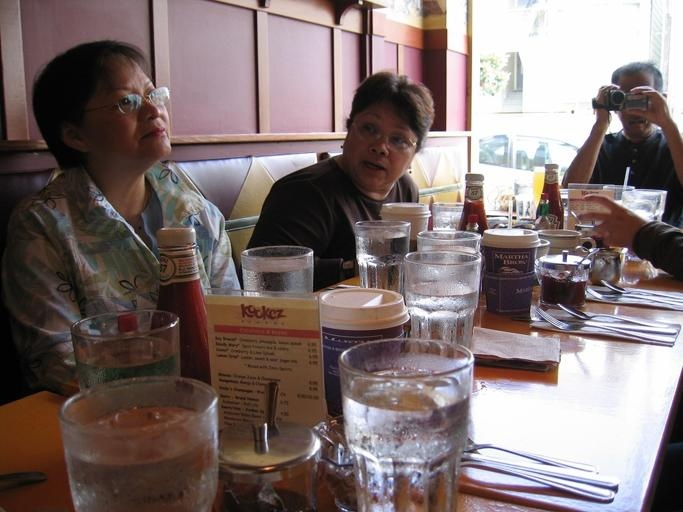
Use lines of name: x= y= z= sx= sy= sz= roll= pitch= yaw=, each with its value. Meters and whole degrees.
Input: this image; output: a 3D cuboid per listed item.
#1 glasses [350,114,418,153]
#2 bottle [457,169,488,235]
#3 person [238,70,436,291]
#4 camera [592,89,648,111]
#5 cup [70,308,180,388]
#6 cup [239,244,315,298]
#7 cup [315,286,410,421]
glasses: x=0.179 y=-0.475 z=2.335 sx=0.149 sy=0.153 sz=0.045 roll=16 pitch=53 yaw=9
bottle: x=0.380 y=-0.116 z=1.673 sx=0.091 sy=0.226 sz=0.085 roll=0 pitch=1 yaw=0
person: x=0.084 y=-0.257 z=2.428 sx=0.949 sy=0.928 sz=0.516 roll=3 pitch=14 yaw=-42
camera: x=1.522 y=-0.851 z=3.190 sx=0.277 sy=0.112 sz=0.144 roll=3 pitch=13 yaw=20
cup: x=-0.328 y=0.127 z=0.911 sx=0.121 sy=0.134 sz=0.132 roll=1 pitch=5 yaw=0
cup: x=-0.136 y=0.026 z=1.156 sx=0.105 sy=0.118 sz=0.112 roll=1 pitch=1 yaw=0
cup: x=0.014 y=0.156 z=0.972 sx=0.162 sy=0.177 sz=0.180 roll=-1 pitch=9 yaw=-6
